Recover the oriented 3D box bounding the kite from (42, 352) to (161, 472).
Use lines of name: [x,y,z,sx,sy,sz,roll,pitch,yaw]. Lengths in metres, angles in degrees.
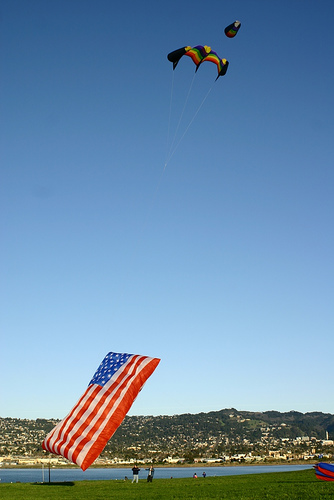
kite: [-2.526,6.210,24.130,3.654,4.343,1.997,5,-11,-10]
